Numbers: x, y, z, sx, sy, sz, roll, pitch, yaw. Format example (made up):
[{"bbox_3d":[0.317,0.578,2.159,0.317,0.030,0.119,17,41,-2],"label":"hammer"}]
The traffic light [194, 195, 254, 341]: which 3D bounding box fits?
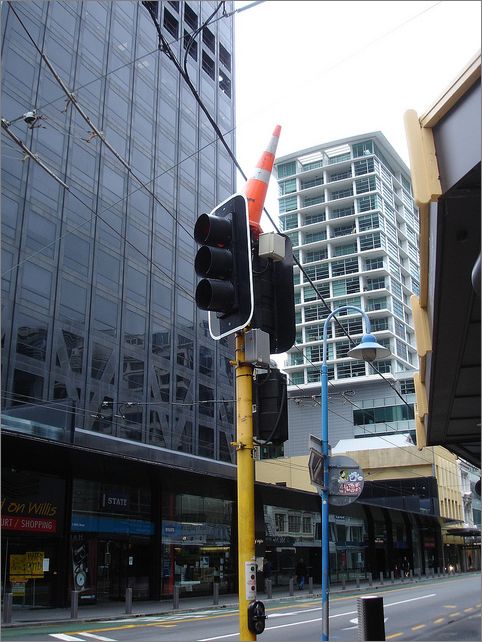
[{"bbox_3d":[-0.131,-0.461,4.298,0.432,1.225,0.646,-1,-18,-3],"label":"traffic light"}]
